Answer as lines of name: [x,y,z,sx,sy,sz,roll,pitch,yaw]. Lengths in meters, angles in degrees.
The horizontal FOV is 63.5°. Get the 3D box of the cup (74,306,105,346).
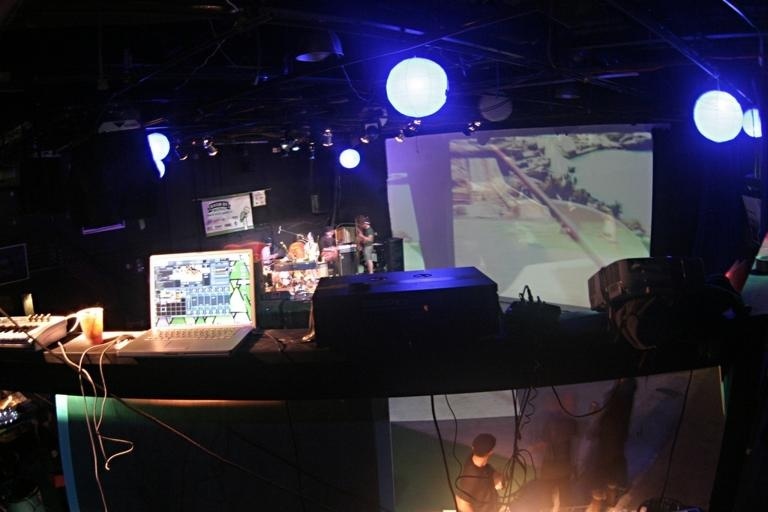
cup: [-2.181,0.539,4.615,0.216,0.222,0.206,-7,-6,-1]

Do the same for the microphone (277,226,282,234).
microphone: [-2.008,-0.509,11.902,0.116,0.111,0.114,-1,-2,7]

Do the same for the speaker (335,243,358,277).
speaker: [-0.518,0.032,8.782,0.272,0.400,0.309,-1,3,-6]
